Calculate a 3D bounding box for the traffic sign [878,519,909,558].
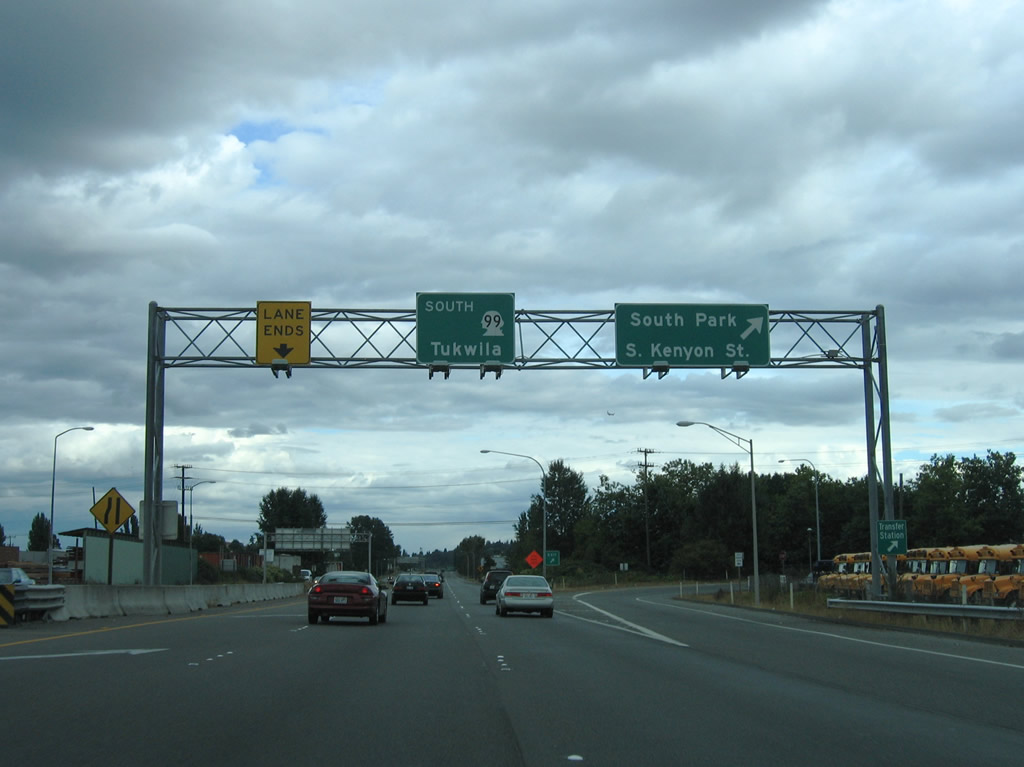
[{"bbox_3d":[12.725,5.157,42.335,0.777,1.165,2.655,-3,-7,23],"label":"traffic sign"}]
